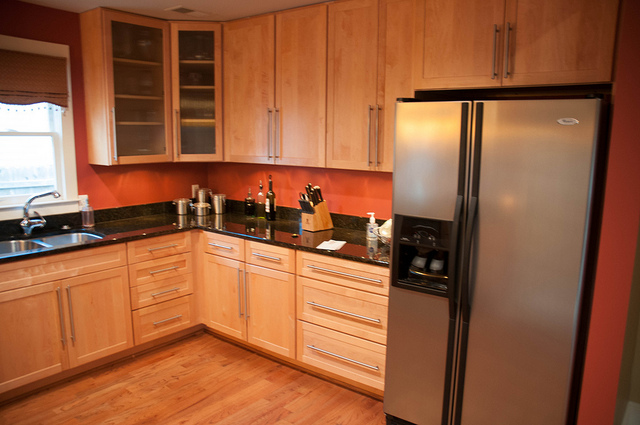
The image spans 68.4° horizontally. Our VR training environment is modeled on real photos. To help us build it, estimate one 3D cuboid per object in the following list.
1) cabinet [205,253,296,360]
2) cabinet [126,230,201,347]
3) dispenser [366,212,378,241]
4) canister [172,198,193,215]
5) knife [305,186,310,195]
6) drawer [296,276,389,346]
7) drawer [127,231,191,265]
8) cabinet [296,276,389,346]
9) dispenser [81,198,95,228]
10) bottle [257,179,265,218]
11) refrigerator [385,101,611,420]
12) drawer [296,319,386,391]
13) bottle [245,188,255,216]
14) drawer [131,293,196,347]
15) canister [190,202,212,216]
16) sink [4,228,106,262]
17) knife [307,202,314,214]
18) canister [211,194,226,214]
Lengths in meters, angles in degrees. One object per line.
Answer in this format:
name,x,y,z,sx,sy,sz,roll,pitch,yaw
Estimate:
cabinet,-0.450,0.814,4.574,1.327,0.771,0.706,3,6,40
cabinet,-1.718,0.683,4.643,0.747,0.995,0.618,30,39,30
dispenser,0.443,0.134,4.095,0.080,0.216,0.125,-1,12,-6
canister,-1.438,-0.058,5.044,0.208,0.122,0.190,0,2,0
knife,-0.109,-0.198,4.318,0.025,0.076,0.012,5,13,17
drawer,0.198,0.787,3.806,0.852,0.321,0.497,5,5,32
drawer,-1.469,0.326,4.361,0.303,0.114,0.407,6,9,40
cabinet,0.370,0.778,3.999,0.975,0.357,0.590,7,7,37
dispenser,-2.200,0.004,4.494,0.113,0.260,0.213,-5,13,-25
bottle,-0.617,-0.110,4.942,0.071,0.333,0.143,-1,13,-9
refrigerator,1.051,0.430,3.163,1.284,2.299,0.352,7,14,27
drawer,0.394,1.171,4.054,0.611,0.398,1.035,6,-2,-44
bottle,-0.744,-0.098,5.042,0.093,0.254,0.177,-1,12,-7
drawer,-1.471,1.002,4.459,0.439,0.263,0.590,6,10,40
canister,-1.261,-0.031,5.010,0.212,0.129,0.180,-2,11,-12
sink,-2.286,0.286,4.025,0.542,0.127,0.757,11,15,44
knife,-0.086,-0.035,4.295,0.058,0.101,0.023,1,13,2
canister,-1.086,-0.083,5.092,0.141,0.198,0.096,-3,13,-17
